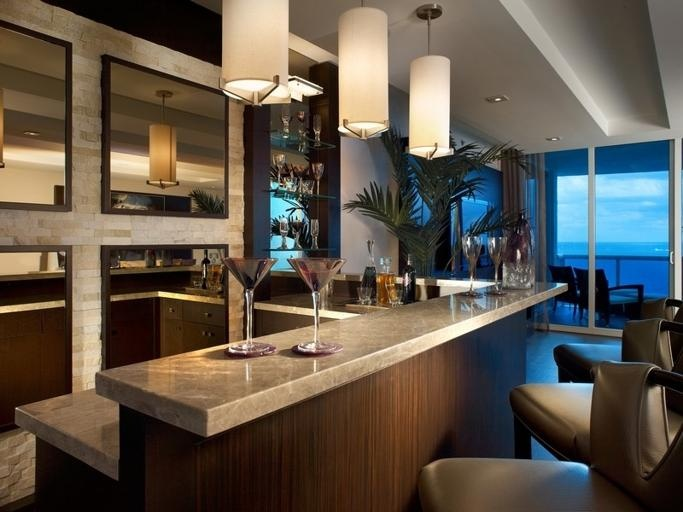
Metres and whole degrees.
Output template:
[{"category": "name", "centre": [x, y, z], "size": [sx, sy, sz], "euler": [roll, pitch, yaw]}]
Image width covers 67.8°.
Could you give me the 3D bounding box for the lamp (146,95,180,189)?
[{"category": "lamp", "centre": [-1.140, -0.744, 3.191], "size": [0.081, 0.608, 0.232], "euler": [7, 11, 27]}]

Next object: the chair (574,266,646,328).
[{"category": "chair", "centre": [3.588, 0.507, 6.868], "size": [0.683, 0.788, 0.618], "euler": [-5, 6, -18]}]

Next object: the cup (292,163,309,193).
[{"category": "cup", "centre": [-0.311, -0.611, 3.992], "size": [0.131, 0.201, 0.273], "euler": [7, 11, 26]}]

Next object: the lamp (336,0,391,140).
[{"category": "lamp", "centre": [0.108, -0.914, 2.525], "size": [0.254, 0.616, 0.255], "euler": [2, 10, 0]}]

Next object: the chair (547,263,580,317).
[{"category": "chair", "centre": [3.060, 0.437, 6.897], "size": [0.396, 0.646, 0.486], "euler": [1, -1, 11]}]

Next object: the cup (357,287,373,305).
[{"category": "cup", "centre": [0.144, 0.242, 3.139], "size": [0.088, 0.102, 0.091], "euler": [0, -6, 0]}]

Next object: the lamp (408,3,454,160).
[{"category": "lamp", "centre": [0.507, -0.842, 2.848], "size": [0.252, 0.563, 0.214], "euler": [2, 10, 0]}]

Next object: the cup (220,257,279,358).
[{"category": "cup", "centre": [-0.315, 0.159, 1.737], "size": [0.168, 0.332, 0.287], "euler": [0, 10, -11]}]

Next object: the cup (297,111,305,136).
[{"category": "cup", "centre": [-0.304, -1.017, 3.882], "size": [0.057, 0.187, 0.110], "euler": [1, 10, -6]}]
